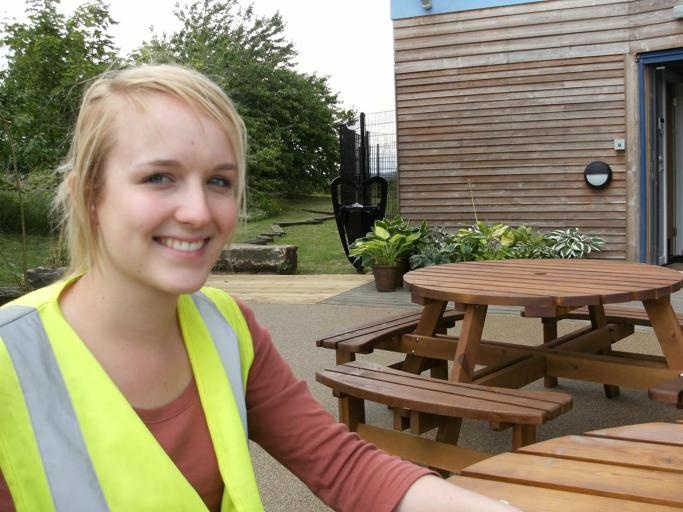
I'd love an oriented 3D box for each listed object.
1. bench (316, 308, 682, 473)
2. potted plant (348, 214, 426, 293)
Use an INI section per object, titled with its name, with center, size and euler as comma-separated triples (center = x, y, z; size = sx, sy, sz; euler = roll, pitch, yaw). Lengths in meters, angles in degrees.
[bench]
center = 0.805, 0.650, 2.687
size = 0.644, 0.257, 1.224
euler = 2, 4, 38
[potted plant]
center = 0.716, -0.048, 7.793
size = 1.441, 0.689, 1.164
euler = -1, -2, -6
